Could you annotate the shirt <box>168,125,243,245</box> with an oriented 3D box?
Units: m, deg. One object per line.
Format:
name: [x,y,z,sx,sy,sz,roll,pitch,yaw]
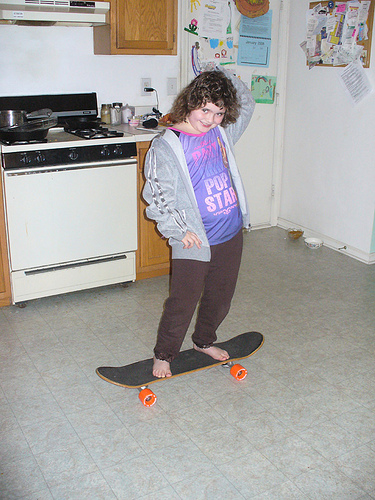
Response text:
shirt: [0.056,-0.230,1.579,0.240,0.418,0.106,-21,22,-37]

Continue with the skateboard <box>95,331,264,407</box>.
skateboard: [0.005,0.483,1.916,0.767,0.129,0.265,-13,26,-28]

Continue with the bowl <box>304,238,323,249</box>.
bowl: [1.029,-0.052,3.539,0.147,0.064,0.115,3,17,11]

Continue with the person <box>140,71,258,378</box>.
person: [0.036,-0.053,1.668,0.344,1.174,0.413,4,18,15]

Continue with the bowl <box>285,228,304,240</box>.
bowl: [0.921,-0.146,3.746,0.089,0.079,0.110,12,-26,-28]
